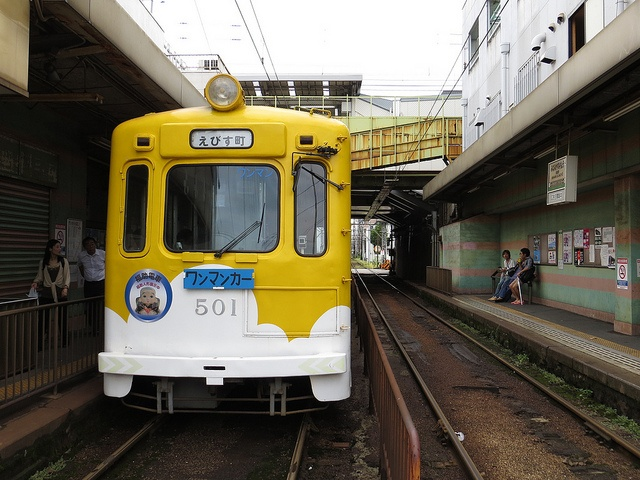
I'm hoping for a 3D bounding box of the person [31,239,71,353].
[{"bbox_3d":[-4.344,0.779,7.679,0.535,1.476,2.873,-2,5,-30],"label":"person"}]

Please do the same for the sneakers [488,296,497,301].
[{"bbox_3d":[6.087,2.031,16.620,0.381,0.202,0.154,1,-5,-7],"label":"sneakers"}]

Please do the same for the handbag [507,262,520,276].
[{"bbox_3d":[6.527,0.999,16.135,0.151,0.472,0.303,24,-17,-31],"label":"handbag"}]

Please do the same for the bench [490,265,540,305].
[{"bbox_3d":[6.366,1.176,15.799,1.295,1.909,0.806,2,-5,2],"label":"bench"}]

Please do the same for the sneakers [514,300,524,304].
[{"bbox_3d":[6.463,2.002,15.358,0.332,0.170,0.123,1,-1,10],"label":"sneakers"}]

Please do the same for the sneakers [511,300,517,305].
[{"bbox_3d":[6.332,2.028,15.466,0.284,0.132,0.099,-1,-3,41],"label":"sneakers"}]

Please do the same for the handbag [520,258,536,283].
[{"bbox_3d":[6.578,0.963,15.080,0.261,0.552,0.469,19,-44,1],"label":"handbag"}]
